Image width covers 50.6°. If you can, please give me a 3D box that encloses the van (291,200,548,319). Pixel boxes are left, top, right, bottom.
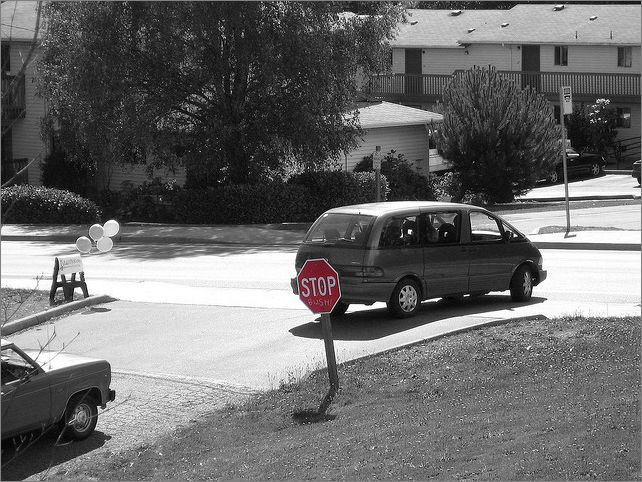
[{"bbox_3d":[2.070,0.158,13.029,4.056,2.101,2.174,-10,9,-35],"label":"van"}]

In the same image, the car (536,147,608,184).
[{"bbox_3d":[17.136,-5.167,45.744,4.111,2.215,1.917,-8,5,-18],"label":"car"}]

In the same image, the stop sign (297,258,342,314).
[{"bbox_3d":[-0.024,0.593,8.625,0.504,0.728,0.270,-5,4,3],"label":"stop sign"}]
